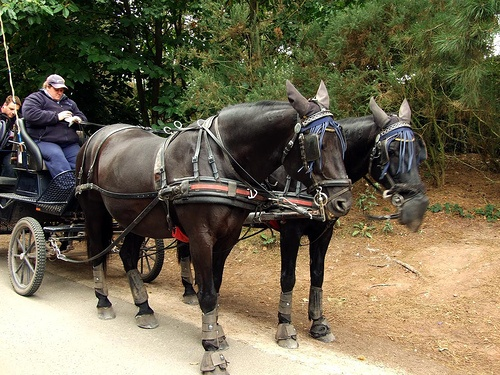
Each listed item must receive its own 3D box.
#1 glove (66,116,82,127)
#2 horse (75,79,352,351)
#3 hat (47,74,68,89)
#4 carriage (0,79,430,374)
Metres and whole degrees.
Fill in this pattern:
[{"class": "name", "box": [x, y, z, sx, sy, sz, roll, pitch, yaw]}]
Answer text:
[{"class": "glove", "box": [-2.636, -0.984, 7.687, 0.165, 0.079, 0.209, -8, 10, -40]}, {"class": "horse", "box": [-0.681, 0.391, 6.225, 4.181, 2.796, 1.203, 1, 1, 40]}, {"class": "hat", "box": [-2.956, -1.610, 7.833, 0.293, 0.158, 0.205, 13, 10, 28]}, {"class": "carriage", "box": [-1.000, -0.111, 8.240, 7.358, 3.897, 1.988, 4, 4, 34]}]
